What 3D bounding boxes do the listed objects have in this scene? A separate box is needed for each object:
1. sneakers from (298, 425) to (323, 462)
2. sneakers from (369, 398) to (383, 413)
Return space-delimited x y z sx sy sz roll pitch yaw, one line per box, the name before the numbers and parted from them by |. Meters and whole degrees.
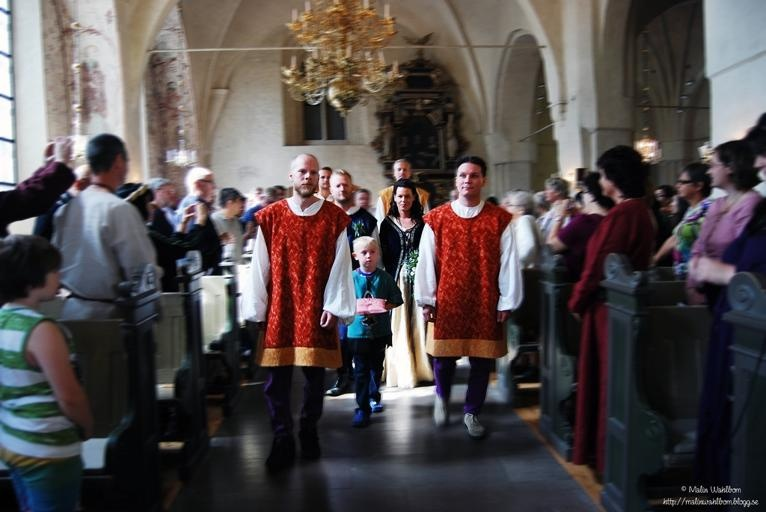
sneakers | -0.566 1.437 5.277 0.182 0.266 0.269 -3 44 -9
sneakers | -0.053 1.346 6.185 0.137 0.117 0.083 -3 0 2
